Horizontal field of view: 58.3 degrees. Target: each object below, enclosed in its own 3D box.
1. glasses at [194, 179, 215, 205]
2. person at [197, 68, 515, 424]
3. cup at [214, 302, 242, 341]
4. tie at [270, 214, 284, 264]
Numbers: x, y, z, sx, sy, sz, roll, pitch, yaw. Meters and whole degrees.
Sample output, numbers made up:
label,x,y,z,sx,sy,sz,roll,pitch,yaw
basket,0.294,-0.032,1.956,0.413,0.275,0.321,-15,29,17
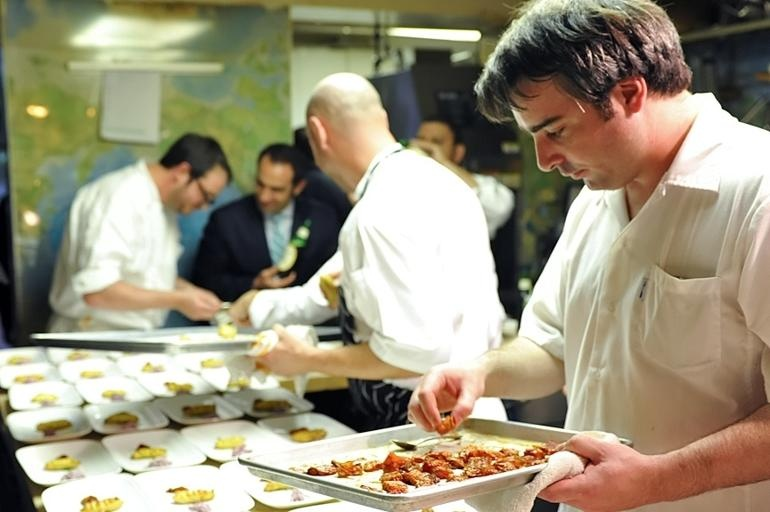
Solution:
label,x,y,z,sx,sy,sz,roll,pitch,yaw
glasses,-0.706,-0.251,2.686,0.026,0.083,0.066,-20,-9,23
person,0.022,-0.236,3.046,1.157,1.970,1.131,3,18,20
cup,-0.620,0.249,2.635,0.098,0.102,0.107,-25,-28,-14
tie,-0.449,-0.058,2.873,0.075,0.269,0.025,6,-34,-16
